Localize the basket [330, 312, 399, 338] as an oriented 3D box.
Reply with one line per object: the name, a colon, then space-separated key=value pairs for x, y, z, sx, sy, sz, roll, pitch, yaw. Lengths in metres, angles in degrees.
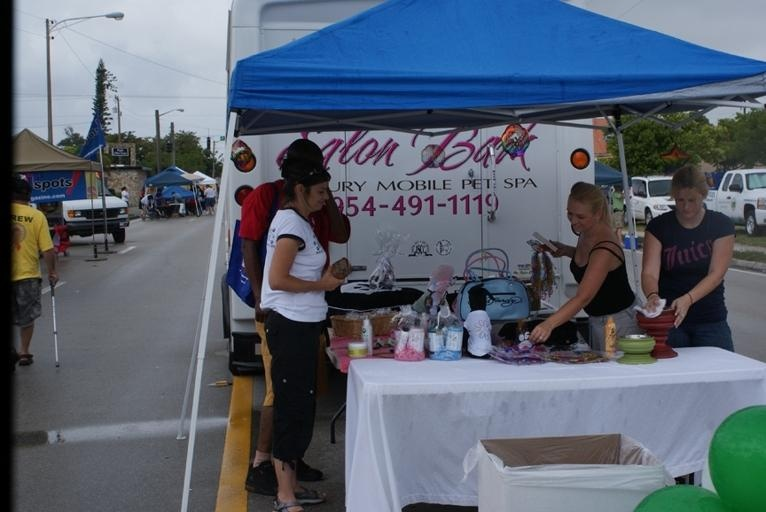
basket: x=-0.144 y=0.531 z=5.602 sx=0.355 sy=0.127 sz=0.240 roll=-3 pitch=1 yaw=-24

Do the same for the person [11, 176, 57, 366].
person: x=-4.338 y=0.219 z=8.658 sx=0.535 sy=2.335 sz=0.634 roll=-5 pitch=9 yaw=-28

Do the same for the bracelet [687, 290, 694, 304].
bracelet: x=2.331 y=0.307 z=5.317 sx=0.037 sy=0.087 sz=0.072 roll=-1 pitch=3 yaw=-3

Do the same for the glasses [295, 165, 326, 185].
glasses: x=-0.502 y=-0.616 z=5.096 sx=0.129 sy=0.047 sz=0.171 roll=-3 pitch=44 yaw=14

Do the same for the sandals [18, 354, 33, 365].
sandals: x=-4.551 y=1.307 z=8.966 sx=0.082 sy=0.107 sz=0.257 roll=2 pitch=6 yaw=5

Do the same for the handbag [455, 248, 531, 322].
handbag: x=0.881 y=0.261 z=5.742 sx=0.594 sy=0.630 sz=0.245 roll=-3 pitch=-10 yaw=-9

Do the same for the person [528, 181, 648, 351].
person: x=1.555 y=0.114 z=5.347 sx=0.961 sy=1.337 sz=0.505 roll=-9 pitch=11 yaw=-42

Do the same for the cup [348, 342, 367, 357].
cup: x=-0.185 y=0.695 z=5.277 sx=0.106 sy=0.074 sz=0.110 roll=1 pitch=3 yaw=0

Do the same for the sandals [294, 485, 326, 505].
sandals: x=-0.574 y=1.866 z=5.503 sx=0.299 sy=0.133 sz=0.102 roll=0 pitch=2 yaw=-9

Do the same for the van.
van: x=-8.899 y=-1.657 z=21.734 sx=2.043 sy=2.086 sz=3.698 roll=-2 pitch=-1 yaw=-27
